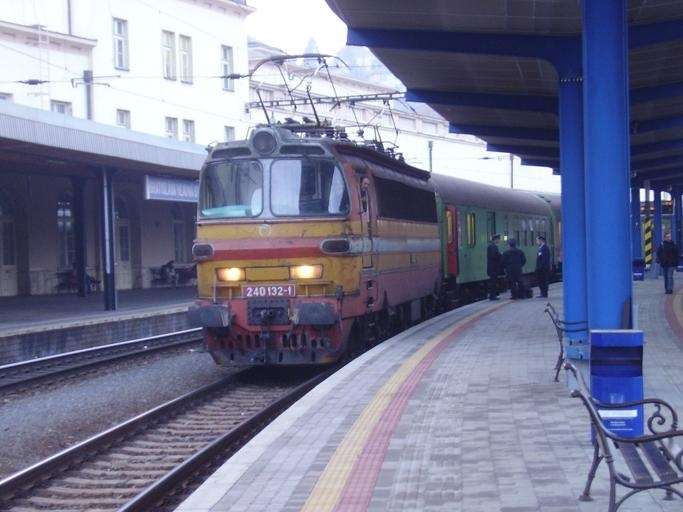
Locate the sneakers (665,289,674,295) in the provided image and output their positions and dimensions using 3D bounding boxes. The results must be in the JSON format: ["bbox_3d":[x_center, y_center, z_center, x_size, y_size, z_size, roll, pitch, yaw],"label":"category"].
[{"bbox_3d":[9.955,1.109,23.442,0.145,0.202,0.646,-2,3,16],"label":"sneakers"}]
